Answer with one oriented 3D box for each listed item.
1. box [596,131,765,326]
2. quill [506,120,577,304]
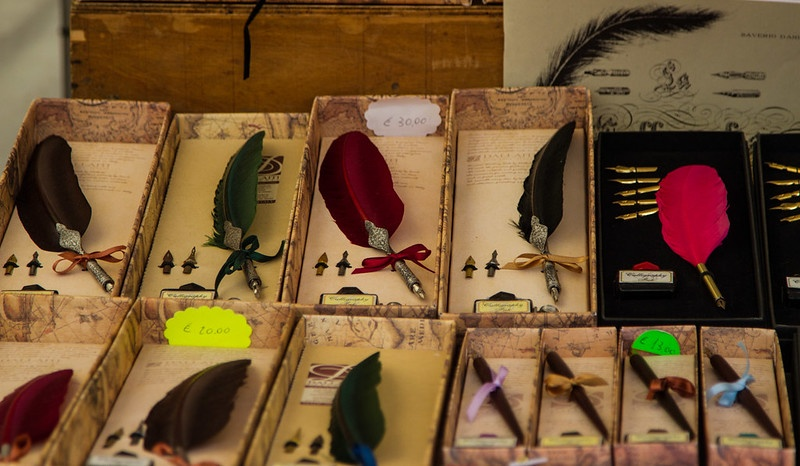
[{"bbox_3d":[1.444,-0.072,3.569,0.849,0.894,0.751,4,12,12],"label":"box"},{"bbox_3d":[0.761,-0.255,3.693,0.260,0.657,0.548,5,12,16],"label":"quill"}]
